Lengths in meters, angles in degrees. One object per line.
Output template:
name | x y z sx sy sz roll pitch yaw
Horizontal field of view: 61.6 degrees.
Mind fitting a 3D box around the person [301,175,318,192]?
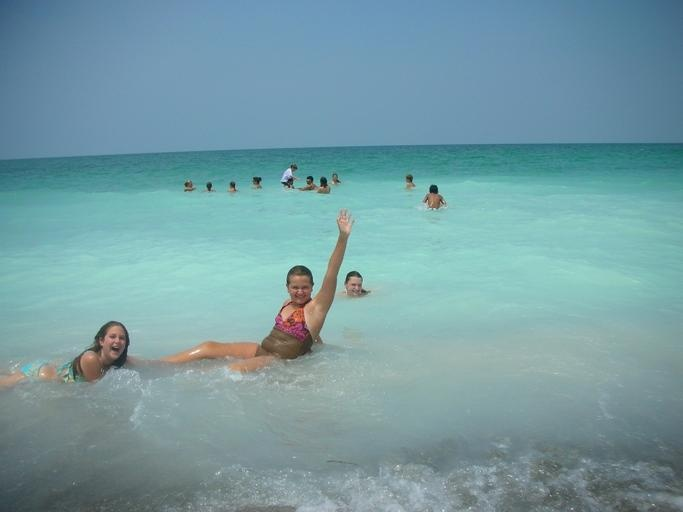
person | -1.398 -3.177 25.108 0.584 0.672 1.199 -5 15 -16

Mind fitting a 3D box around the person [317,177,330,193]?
person | -0.762 -2.988 24.156 0.486 0.698 0.933 -2 14 -2

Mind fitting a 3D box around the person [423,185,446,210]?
person | 3.128 -1.978 18.970 0.677 0.819 0.741 0 15 6
